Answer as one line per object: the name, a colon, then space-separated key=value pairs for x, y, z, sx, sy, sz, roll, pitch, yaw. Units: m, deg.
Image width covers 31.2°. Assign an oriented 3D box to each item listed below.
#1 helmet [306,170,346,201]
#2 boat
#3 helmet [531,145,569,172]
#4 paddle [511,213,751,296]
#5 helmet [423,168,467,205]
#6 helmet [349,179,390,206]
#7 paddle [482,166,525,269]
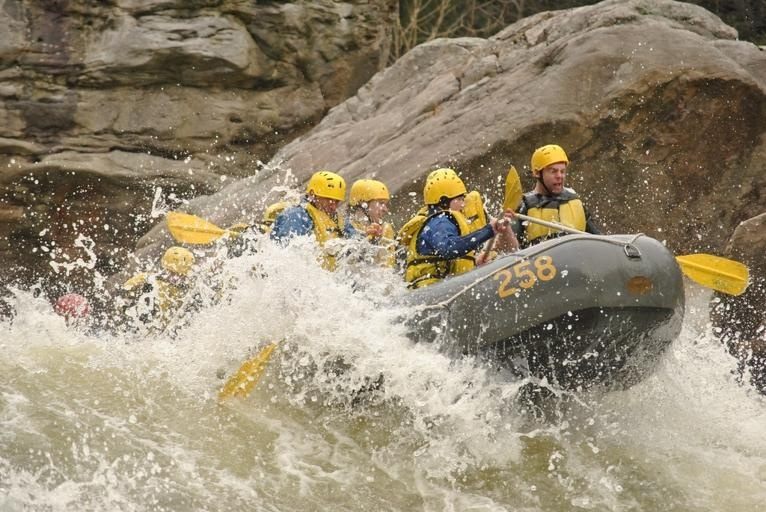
helmet: x=-0.685 y=-0.879 z=16.699 sx=0.429 sy=0.222 sz=0.319 roll=18 pitch=9 yaw=6
boat: x=1.890 y=0.816 z=16.833 sx=2.546 sy=1.439 sz=4.327 roll=7 pitch=-20 yaw=-24
helmet: x=1.961 y=-1.204 z=16.427 sx=0.391 sy=0.276 sz=0.312 roll=-27 pitch=-6 yaw=37
paddle: x=2.821 y=-0.020 z=15.958 sx=2.988 sy=0.393 sz=0.214 roll=16 pitch=34 yaw=27
helmet: x=0.716 y=-0.829 z=16.304 sx=0.510 sy=0.399 sz=0.359 roll=6 pitch=-2 yaw=2
helmet: x=-0.159 y=-0.794 z=16.732 sx=0.410 sy=0.234 sz=0.304 roll=2 pitch=7 yaw=18
paddle: x=1.433 y=-0.451 z=16.229 sx=0.219 sy=1.413 sz=0.210 roll=26 pitch=9 yaw=22
